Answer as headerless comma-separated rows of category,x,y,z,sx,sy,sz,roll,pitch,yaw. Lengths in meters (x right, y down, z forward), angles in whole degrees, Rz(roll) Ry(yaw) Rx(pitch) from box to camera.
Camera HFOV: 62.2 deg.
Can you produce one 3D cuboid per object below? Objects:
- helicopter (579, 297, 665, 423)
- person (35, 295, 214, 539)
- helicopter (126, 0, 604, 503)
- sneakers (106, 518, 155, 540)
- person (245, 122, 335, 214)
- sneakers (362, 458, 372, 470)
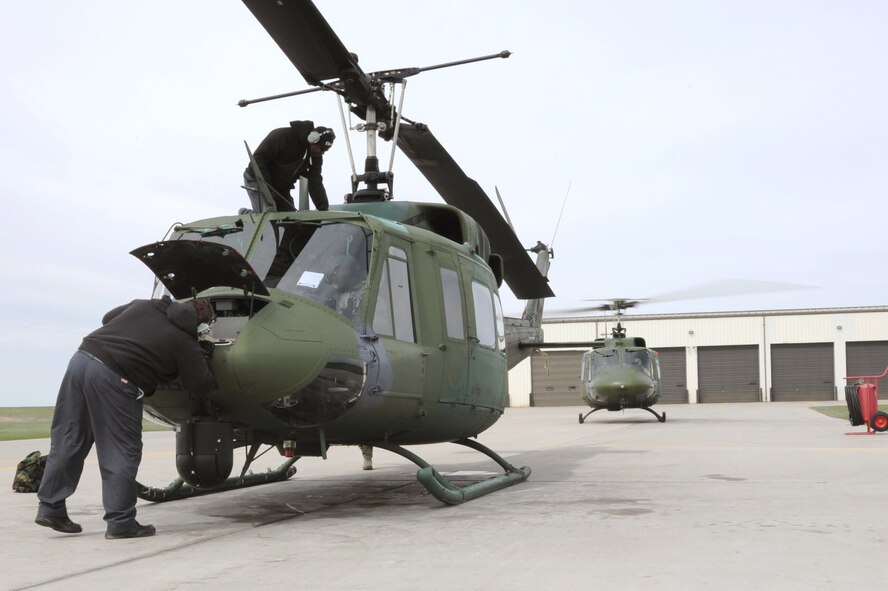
helicopter,5.821,2.150,24.243,2.902,3.465,6.997,-4,-6,14
person,-2.536,0.970,5.837,1.525,1.869,0.565,-11,-14,20
helicopter,-1.106,0.198,9.133,3.200,3.026,6.607,-5,-9,24
sneakers,-2.475,1.837,5.837,0.381,0.133,0.162,0,-2,-29
person,-1.645,-1.320,7.629,1.022,0.881,0.692,4,-12,2
sneakers,-1.061,2.342,10.219,0.205,0.161,0.184,1,-9,0
